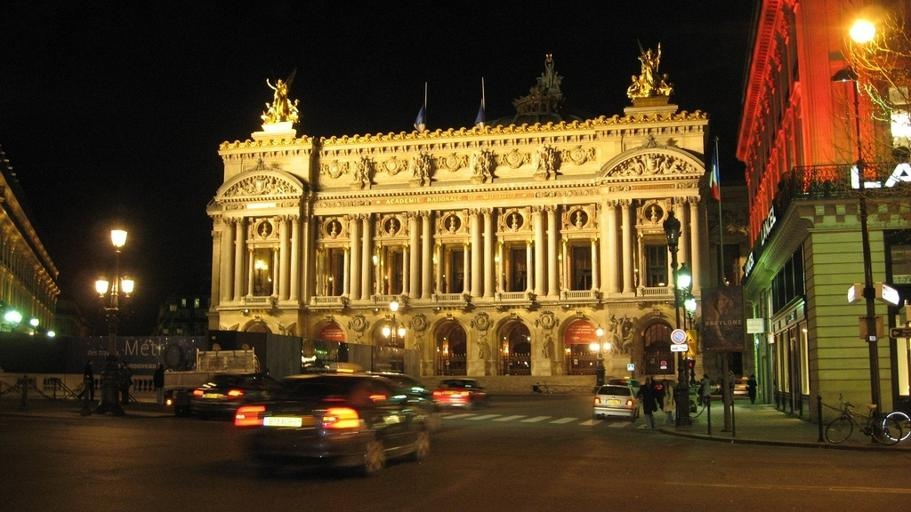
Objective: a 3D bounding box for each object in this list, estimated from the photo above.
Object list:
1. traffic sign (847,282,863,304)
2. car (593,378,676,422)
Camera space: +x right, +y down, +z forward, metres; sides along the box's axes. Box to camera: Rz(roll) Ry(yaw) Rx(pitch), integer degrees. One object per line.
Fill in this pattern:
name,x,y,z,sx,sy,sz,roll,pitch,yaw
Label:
traffic sign,19.657,1.854,53.565,0.580,0.708,1.078,2,-8,11
car,10.266,8.495,64.951,3.178,2.055,6.839,-2,-3,20
